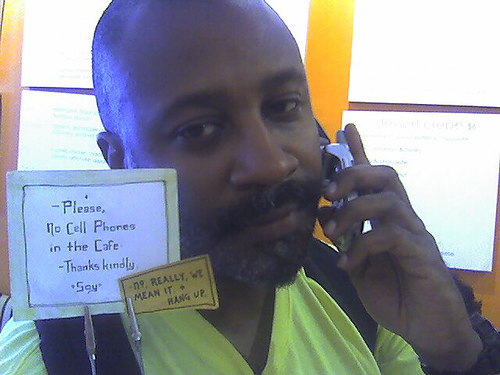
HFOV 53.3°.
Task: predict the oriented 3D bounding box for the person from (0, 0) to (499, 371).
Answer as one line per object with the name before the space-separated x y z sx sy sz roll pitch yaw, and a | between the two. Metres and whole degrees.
person | 0.097 -0.001 1.203 0.872 0.691 0.422 -14 12 -38

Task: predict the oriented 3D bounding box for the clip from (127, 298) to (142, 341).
clip | -0.213 0.240 0.910 0.016 0.080 0.013 -6 1 -21
